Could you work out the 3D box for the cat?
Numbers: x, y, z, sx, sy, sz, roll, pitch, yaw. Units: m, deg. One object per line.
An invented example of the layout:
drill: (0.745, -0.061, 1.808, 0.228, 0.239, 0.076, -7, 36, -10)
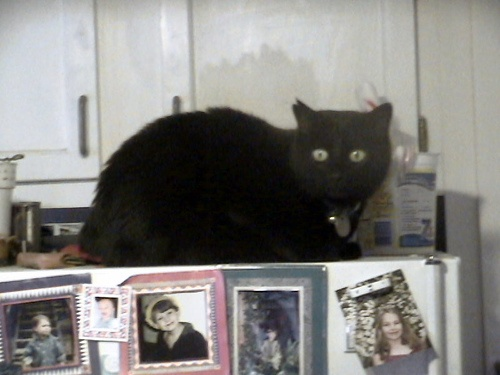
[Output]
cat: (-0.018, 0.006, 2.766, 0.861, 0.481, 0.383, -5, -3, -4)
